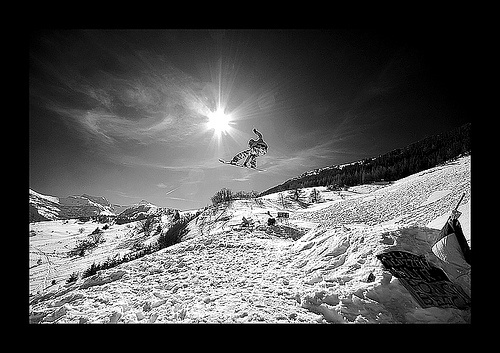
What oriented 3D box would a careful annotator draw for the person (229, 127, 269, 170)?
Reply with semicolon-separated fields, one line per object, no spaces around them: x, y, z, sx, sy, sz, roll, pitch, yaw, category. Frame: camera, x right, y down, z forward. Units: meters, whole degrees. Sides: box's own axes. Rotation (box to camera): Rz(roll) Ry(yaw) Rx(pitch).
-0.018;-0.645;6.948;0.863;0.876;0.272;-7;-12;18;person
